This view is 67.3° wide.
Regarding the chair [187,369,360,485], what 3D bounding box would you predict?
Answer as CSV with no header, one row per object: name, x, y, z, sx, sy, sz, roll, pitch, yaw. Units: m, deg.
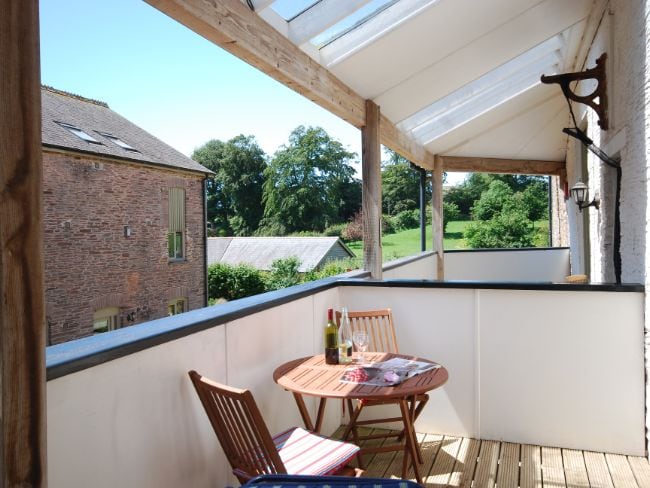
chair,-0.227,0.893,2.406,0.688,0.530,0.580,-3,1,-41

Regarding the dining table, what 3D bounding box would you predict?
dining table,0.188,0.901,2.970,0.859,0.592,0.901,0,3,18

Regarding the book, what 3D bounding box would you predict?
book,0.368,0.746,2.916,0.653,0.062,0.404,-3,0,-35
